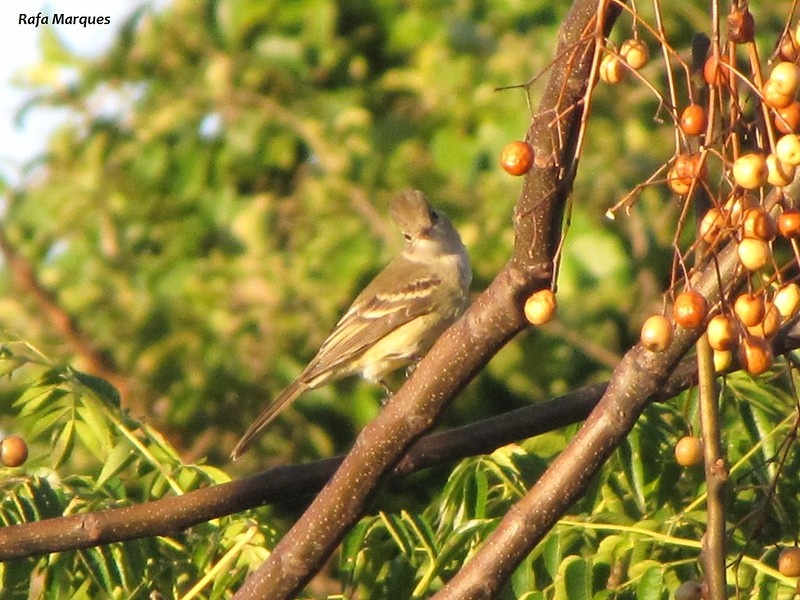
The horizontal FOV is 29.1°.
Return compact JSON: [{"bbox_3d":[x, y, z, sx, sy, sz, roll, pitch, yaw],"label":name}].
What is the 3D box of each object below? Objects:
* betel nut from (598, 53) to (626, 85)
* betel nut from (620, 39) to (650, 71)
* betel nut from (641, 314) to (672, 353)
[{"bbox_3d":[0.854,-0.925,6.166,0.107,0.112,0.144,11,-83,35],"label":"betel nut"},{"bbox_3d":[0.943,-1.002,6.163,0.112,0.144,0.132,-6,-49,13],"label":"betel nut"},{"bbox_3d":[1.024,0.151,6.116,0.124,0.119,0.179,-1,-53,9],"label":"betel nut"}]
